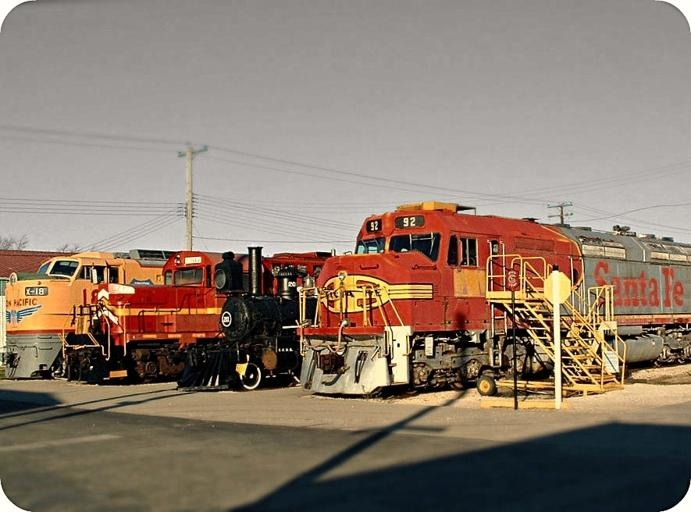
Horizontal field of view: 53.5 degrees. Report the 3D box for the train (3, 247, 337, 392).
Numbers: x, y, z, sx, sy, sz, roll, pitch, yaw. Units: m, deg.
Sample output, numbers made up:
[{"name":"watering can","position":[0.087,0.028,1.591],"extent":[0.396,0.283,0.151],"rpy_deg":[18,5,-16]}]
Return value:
[{"name":"train","position":[-2.589,2.364,27.117],"extent":[16.755,4.951,5.399],"rpy_deg":[5,-9,-31]}]
